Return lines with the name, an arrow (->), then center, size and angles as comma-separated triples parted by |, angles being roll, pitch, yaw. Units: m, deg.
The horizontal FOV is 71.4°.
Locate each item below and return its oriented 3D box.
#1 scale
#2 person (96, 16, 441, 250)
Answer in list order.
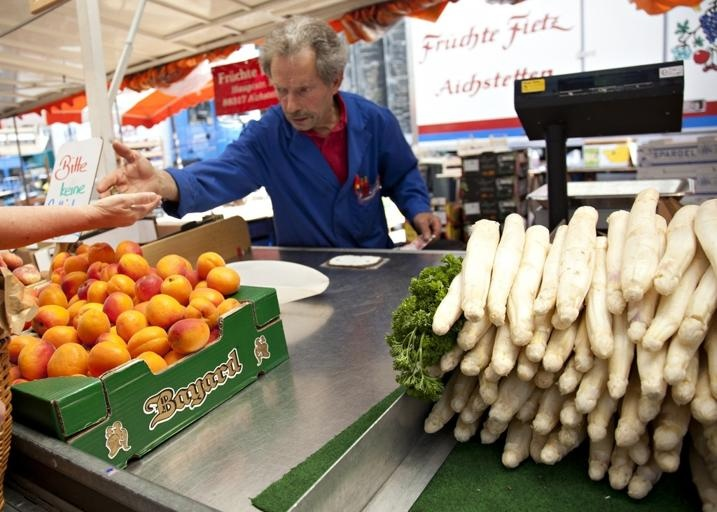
scale -> 0.960, -0.374, 2.044 | 0.588, 0.664, 0.363 | 0, -21, 21
person -> -0.222, -0.525, 2.796 | 1.771, 1.380, 0.889 | 6, 12, 24
